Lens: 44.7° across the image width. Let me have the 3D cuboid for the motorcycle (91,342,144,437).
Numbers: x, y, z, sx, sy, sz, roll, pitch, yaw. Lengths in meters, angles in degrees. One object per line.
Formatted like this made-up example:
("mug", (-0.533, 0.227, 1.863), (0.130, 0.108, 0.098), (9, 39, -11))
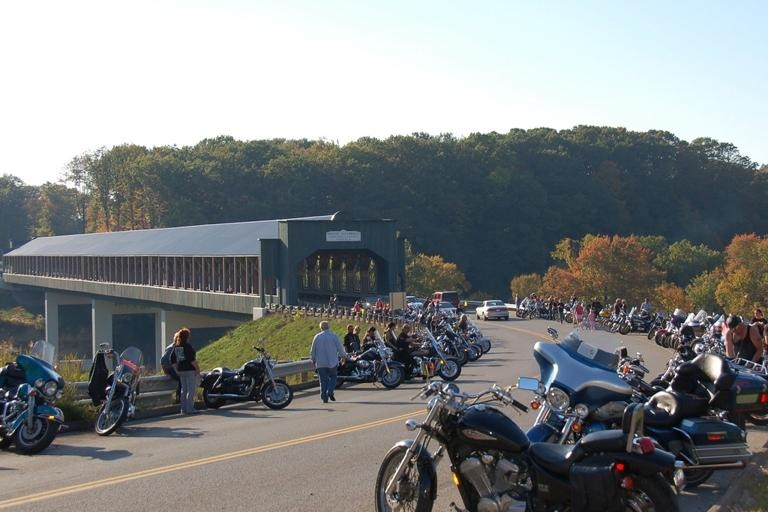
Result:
("motorcycle", (-6.679, 3.427, 23.652), (1.163, 2.152, 0.956), (3, -6, -34))

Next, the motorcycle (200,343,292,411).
("motorcycle", (-3.879, 3.496, 26.747), (2.565, 1.785, 1.067), (-3, -6, 24))

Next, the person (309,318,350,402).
("person", (-1.643, 3.056, 26.731), (0.722, 2.288, 1.192), (-3, -5, 19))

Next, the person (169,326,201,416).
("person", (-5.570, 3.261, 26.300), (0.764, 2.363, 1.175), (0, -5, -11))

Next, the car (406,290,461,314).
("car", (3.558, 2.983, 61.903), (2.556, 1.338, 1.415), (6, -6, -33))
